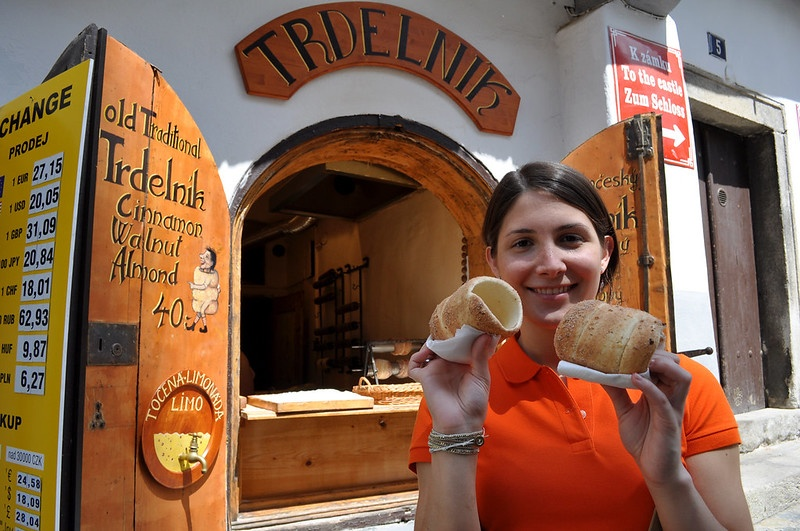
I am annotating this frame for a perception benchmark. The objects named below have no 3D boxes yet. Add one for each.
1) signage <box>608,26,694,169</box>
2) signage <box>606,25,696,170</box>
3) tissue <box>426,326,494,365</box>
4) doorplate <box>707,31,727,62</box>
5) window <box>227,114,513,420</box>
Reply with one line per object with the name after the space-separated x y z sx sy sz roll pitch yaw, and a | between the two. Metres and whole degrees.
2.455 -1.636 5.516 1.398 1.667 0.071 11 -21 -34 | signage
2.454 -1.643 5.521 1.452 1.764 0.074 11 -20 -32 | signage
0.214 0.319 2.293 0.176 0.088 0.156 -12 -2 12 | tissue
3.745 -2.580 6.606 0.370 0.285 0.054 9 -10 -36 | doorplate
-0.372 -0.075 6.139 3.556 2.995 0.532 10 -25 -29 | window
